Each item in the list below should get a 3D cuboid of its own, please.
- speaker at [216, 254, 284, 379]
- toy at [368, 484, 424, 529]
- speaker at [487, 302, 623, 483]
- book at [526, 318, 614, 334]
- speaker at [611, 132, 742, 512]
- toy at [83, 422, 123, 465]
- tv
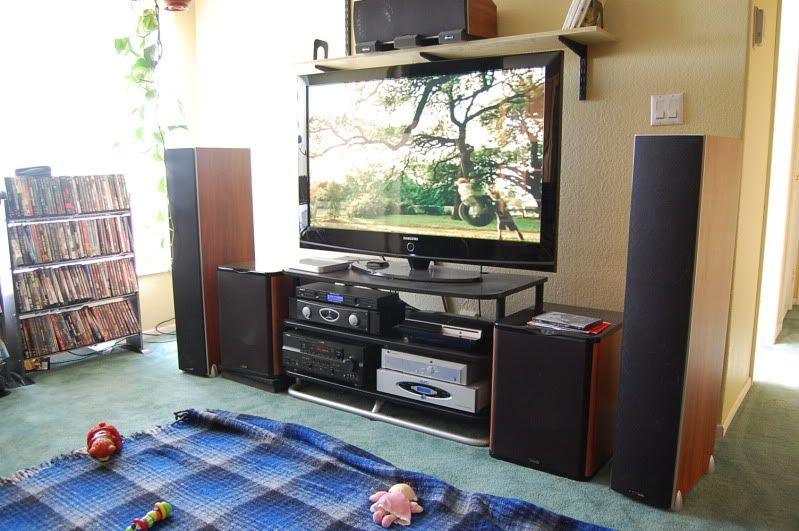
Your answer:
[{"bbox_3d":[-0.947,0.373,3.602,0.482,0.709,0.202,5,15,21],"label":"speaker"},{"bbox_3d":[-0.015,1.010,2.453,0.159,0.059,0.164,4,9,30],"label":"toy"},{"bbox_3d":[0.773,0.621,2.840,0.598,0.704,0.393,5,14,19],"label":"speaker"},{"bbox_3d":[0.824,0.290,2.715,0.395,0.026,0.160,1,13,5],"label":"book"},{"bbox_3d":[1.274,0.242,2.535,0.636,1.602,0.389,-6,15,-23],"label":"speaker"},{"bbox_3d":[-1.488,0.870,2.835,0.172,0.116,0.198,-2,13,-10],"label":"toy"},{"bbox_3d":[0.215,-0.551,3.161,1.443,0.863,0.110,4,9,27],"label":"tv"}]
